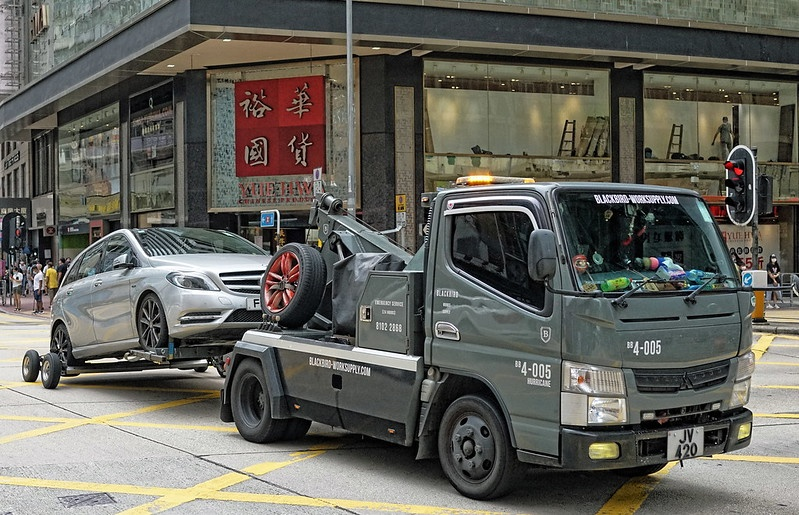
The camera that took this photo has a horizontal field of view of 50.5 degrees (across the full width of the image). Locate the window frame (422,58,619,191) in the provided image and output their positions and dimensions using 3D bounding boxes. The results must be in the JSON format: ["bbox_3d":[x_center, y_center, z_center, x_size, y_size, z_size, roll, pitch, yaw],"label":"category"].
[{"bbox_3d":[4.585,-5.065,33.007,7.577,4.901,0.486,-1,4,-14],"label":"window frame"}]

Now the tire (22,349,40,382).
[{"bbox_3d":[-7.129,2.103,16.294,0.185,0.617,0.596,7,-2,-38],"label":"tire"}]

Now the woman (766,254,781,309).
[{"bbox_3d":[14.554,0.928,33.072,0.554,2.112,0.461,-7,16,-34],"label":"woman"}]

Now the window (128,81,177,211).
[{"bbox_3d":[-10.823,-4.910,37.151,0.056,5.347,5.640,3,-4,-29],"label":"window"}]

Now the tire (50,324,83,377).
[{"bbox_3d":[-6.350,1.771,16.102,0.290,0.968,0.915,5,-5,-43],"label":"tire"}]

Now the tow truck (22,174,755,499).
[{"bbox_3d":[-0.819,0.964,13.814,4.492,3.943,11.291,4,-3,-43],"label":"tow truck"}]

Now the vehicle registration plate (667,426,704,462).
[{"bbox_3d":[3.312,2.157,9.780,0.554,0.364,0.046,-1,3,-25],"label":"vehicle registration plate"}]

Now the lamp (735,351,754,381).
[{"bbox_3d":[4.201,1.323,10.254,0.258,0.349,0.122,0,19,-45],"label":"lamp"}]

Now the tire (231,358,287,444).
[{"bbox_3d":[-1.985,2.042,12.082,1.109,1.292,0.431,-6,-4,44],"label":"tire"}]

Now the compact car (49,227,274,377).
[{"bbox_3d":[-4.375,0.680,16.174,3.187,2.435,6.322,-1,-8,-45],"label":"compact car"}]

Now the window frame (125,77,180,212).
[{"bbox_3d":[-10.788,-4.978,37.103,0.073,5.286,5.753,3,-4,-29],"label":"window frame"}]

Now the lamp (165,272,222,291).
[{"bbox_3d":[-3.319,0.408,13.423,0.598,0.226,0.346,15,-19,-34],"label":"lamp"}]

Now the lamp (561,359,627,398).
[{"bbox_3d":[2.147,1.500,9.836,0.877,0.327,0.676,7,-20,-20],"label":"lamp"}]

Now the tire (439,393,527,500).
[{"bbox_3d":[1.024,2.263,10.089,1.221,1.338,0.541,-1,-6,44],"label":"tire"}]
